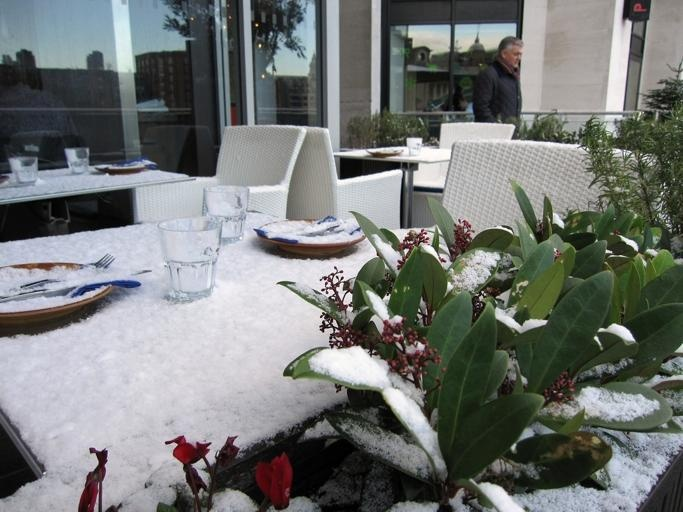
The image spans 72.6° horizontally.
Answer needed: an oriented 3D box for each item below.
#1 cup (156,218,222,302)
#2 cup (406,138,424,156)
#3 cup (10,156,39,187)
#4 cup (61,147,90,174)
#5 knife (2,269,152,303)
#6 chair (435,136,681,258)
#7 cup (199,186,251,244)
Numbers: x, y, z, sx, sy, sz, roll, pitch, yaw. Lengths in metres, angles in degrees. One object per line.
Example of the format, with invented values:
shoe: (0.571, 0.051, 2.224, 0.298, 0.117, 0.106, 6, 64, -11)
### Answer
cup: (-0.234, 0.008, 0.805, 0.114, 0.162, 0.126, 2, 3, 0)
cup: (0.564, -0.842, 3.599, 0.126, 0.148, 0.127, -1, 13, 0)
cup: (-1.085, -0.298, 1.595, 0.078, 0.089, 0.167, -13, 22, -33)
cup: (-1.003, -0.361, 1.794, 0.099, 0.130, 0.104, 3, 15, -1)
knife: (-0.417, 0.049, 0.727, 0.145, 0.026, 0.024, -9, 21, -33)
chair: (0.519, -0.203, 1.386, 0.159, 0.260, 0.455, -17, 24, -41)
cup: (-0.253, -0.090, 1.079, 0.113, 0.157, 0.130, 1, 6, -11)
